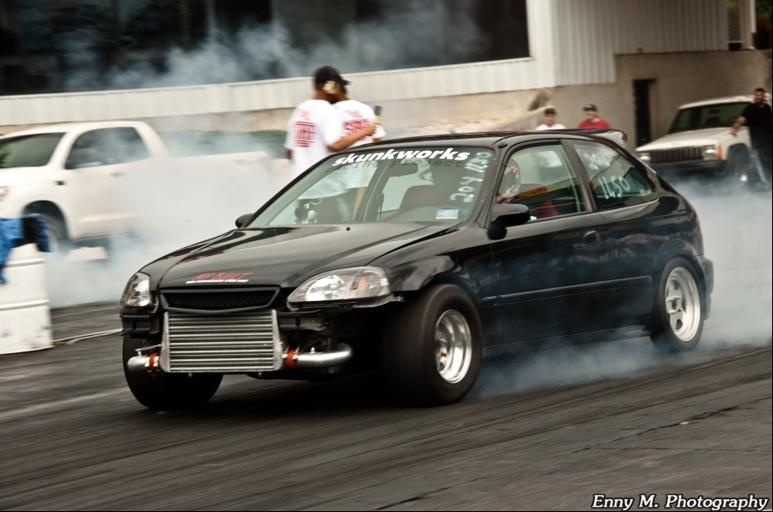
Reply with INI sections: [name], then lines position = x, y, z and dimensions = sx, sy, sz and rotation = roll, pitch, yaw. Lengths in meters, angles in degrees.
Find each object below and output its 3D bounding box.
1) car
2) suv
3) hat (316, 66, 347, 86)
[car]
position = 0.311, 0.008, 6.221
dimensions = 4.188, 1.918, 1.715
rotation = -8, 7, -34
[suv]
position = 10.156, -2.897, 22.871
dimensions = 3.828, 2.345, 6.845
rotation = 1, 4, 42
[hat]
position = -0.590, -1.934, 8.659
dimensions = 0.332, 0.104, 0.215
rotation = 4, 5, 12
